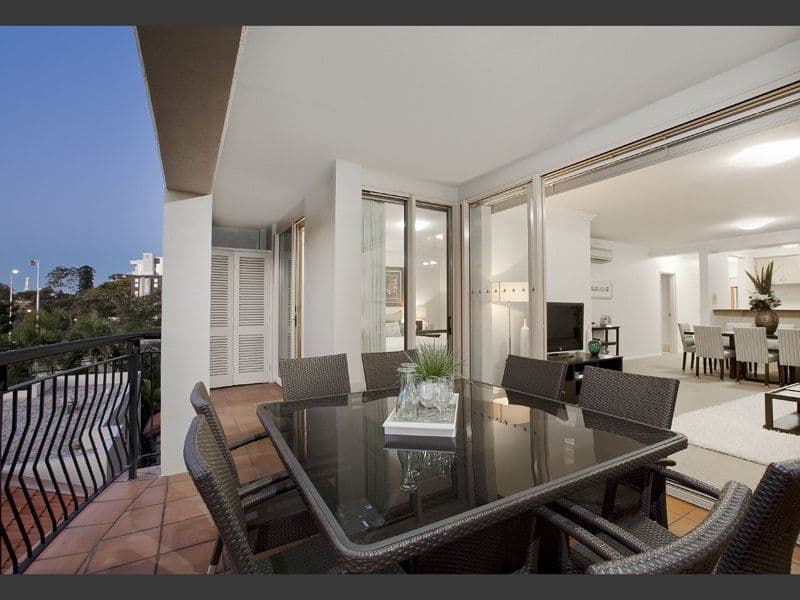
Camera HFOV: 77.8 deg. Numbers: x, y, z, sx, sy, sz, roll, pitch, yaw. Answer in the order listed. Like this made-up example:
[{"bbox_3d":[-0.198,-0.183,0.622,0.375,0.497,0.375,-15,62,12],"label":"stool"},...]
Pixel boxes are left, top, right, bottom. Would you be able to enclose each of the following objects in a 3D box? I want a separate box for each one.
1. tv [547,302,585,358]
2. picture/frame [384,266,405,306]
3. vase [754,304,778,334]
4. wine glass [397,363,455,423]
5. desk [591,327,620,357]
[{"bbox_3d":[1.991,0.372,5.986,0.642,0.552,0.084,3,-5,-34],"label":"tv"},{"bbox_3d":[-0.074,-0.138,5.064,0.399,0.451,0.035,2,-5,-38],"label":"picture/frame"},{"bbox_3d":[4.885,0.248,6.567,0.349,0.428,0.358,0,1,22],"label":"vase"},{"bbox_3d":[0.127,0.475,2.492,0.309,0.303,0.193,0,-5,9],"label":"wine glass"},{"bbox_3d":[3.199,0.629,7.705,0.576,0.534,0.217,-1,2,-39],"label":"desk"}]
